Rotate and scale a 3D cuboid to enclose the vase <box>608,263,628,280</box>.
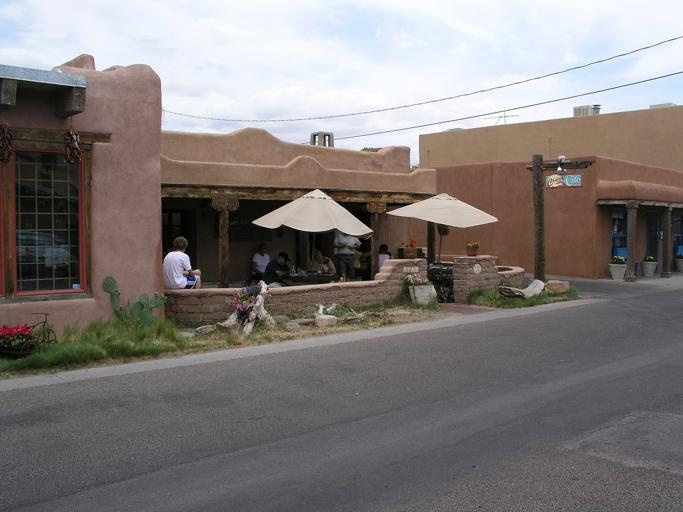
[{"bbox_3d":[10.902,0.647,24.596,0.516,0.456,0.533,-2,3,-45],"label":"vase"}]

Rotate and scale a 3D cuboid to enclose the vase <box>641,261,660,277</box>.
[{"bbox_3d":[13.381,0.546,27.046,0.653,0.564,0.691,1,-5,-1],"label":"vase"}]

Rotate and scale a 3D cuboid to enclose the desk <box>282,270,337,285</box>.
[{"bbox_3d":[-0.804,0.630,16.232,1.313,0.321,0.893,0,6,-4],"label":"desk"}]

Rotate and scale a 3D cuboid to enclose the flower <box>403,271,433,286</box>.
[{"bbox_3d":[1.997,0.595,16.178,0.689,0.303,0.562,-2,7,-23],"label":"flower"}]

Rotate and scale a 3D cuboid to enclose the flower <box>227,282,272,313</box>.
[{"bbox_3d":[-1.848,0.811,12.483,0.659,0.497,0.682,0,6,-5],"label":"flower"}]

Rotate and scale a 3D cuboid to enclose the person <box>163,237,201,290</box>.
[{"bbox_3d":[-3.372,0.165,13.146,0.856,1.137,0.586,-3,7,-28],"label":"person"}]
